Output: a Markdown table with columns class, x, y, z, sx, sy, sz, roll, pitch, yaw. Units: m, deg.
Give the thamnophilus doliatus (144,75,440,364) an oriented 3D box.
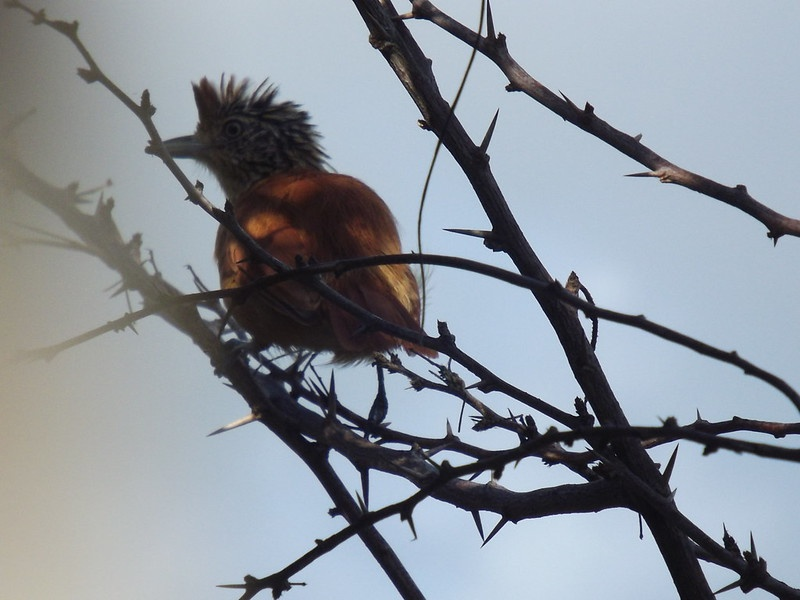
| class | x | y | z | sx | sy | sz | roll | pitch | yaw |
| --- | --- | --- | --- | --- | --- | --- | --- | --- | --- |
| thamnophilus doliatus | -0.218 | -0.148 | 2.645 | 0.326 | 0.988 | 0.614 | -7 | -64 | -23 |
